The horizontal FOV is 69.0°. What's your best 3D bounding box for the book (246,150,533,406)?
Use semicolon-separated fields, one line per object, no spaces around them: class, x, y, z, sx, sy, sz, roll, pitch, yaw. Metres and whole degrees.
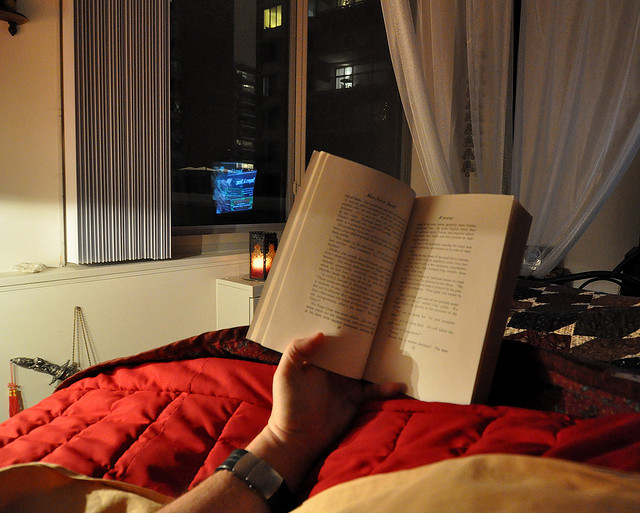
book;0.119;0.030;0.847;0.444;0.399;0.215;10;13;19
